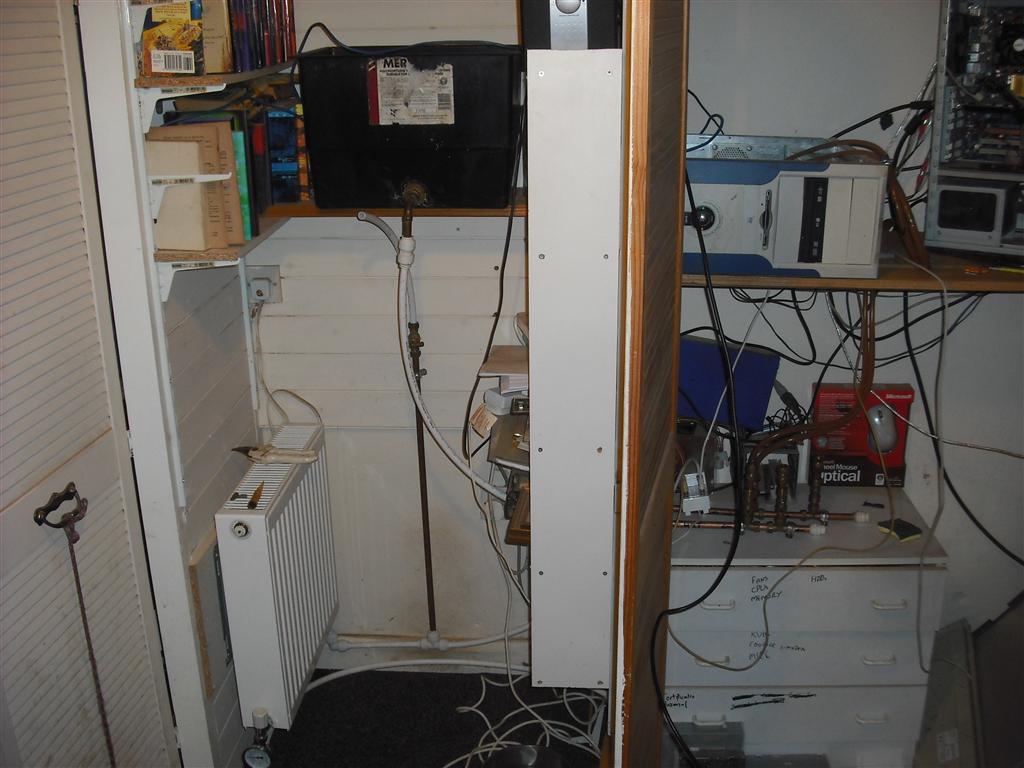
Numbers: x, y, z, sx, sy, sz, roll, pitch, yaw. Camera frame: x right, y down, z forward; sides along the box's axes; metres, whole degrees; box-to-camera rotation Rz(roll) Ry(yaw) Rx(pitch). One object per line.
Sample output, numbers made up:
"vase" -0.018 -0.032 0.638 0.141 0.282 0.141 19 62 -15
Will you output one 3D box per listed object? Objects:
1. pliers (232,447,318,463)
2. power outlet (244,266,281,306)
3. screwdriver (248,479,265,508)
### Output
"pliers" -0.785 0.235 3.012 0.222 0.050 0.100 4 11 -5
"power outlet" -0.862 -0.349 3.192 0.126 0.132 0.123 0 16 -3
"screwdriver" -0.789 0.341 2.801 0.039 0.032 0.155 -4 17 -10
